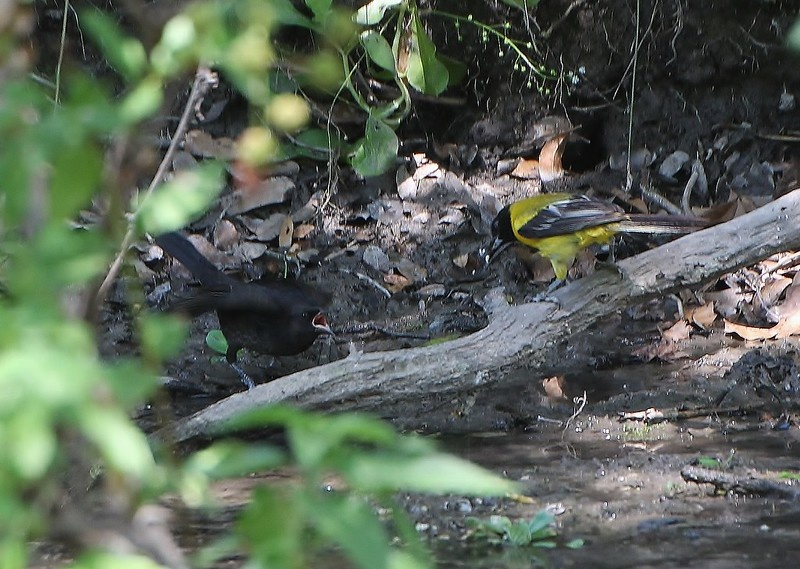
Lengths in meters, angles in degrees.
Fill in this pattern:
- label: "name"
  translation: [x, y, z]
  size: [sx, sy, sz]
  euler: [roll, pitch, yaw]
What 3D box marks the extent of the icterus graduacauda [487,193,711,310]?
- label: "icterus graduacauda"
  translation: [1.054, -0.245, 4.894]
  size: [1.270, 0.477, 0.380]
  euler: [-3, 1, 26]
